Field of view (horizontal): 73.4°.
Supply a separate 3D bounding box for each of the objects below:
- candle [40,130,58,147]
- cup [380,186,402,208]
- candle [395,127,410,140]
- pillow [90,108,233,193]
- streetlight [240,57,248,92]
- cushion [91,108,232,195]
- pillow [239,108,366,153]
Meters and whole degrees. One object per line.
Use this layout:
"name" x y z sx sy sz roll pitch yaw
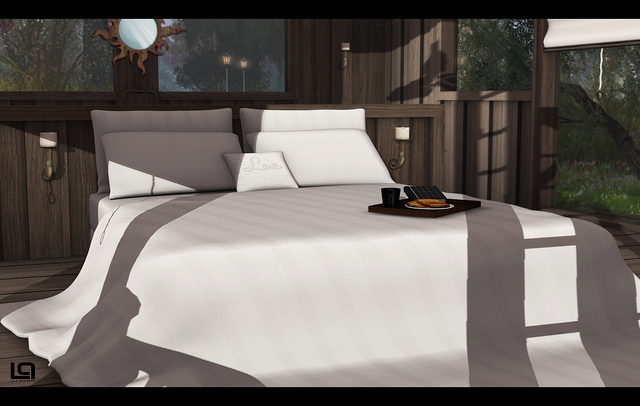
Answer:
"candle" -2.160 -0.508 3.414 0.121 0.130 0.119 2 7 14
"cup" 0.405 -0.032 2.466 0.110 0.089 0.121 0 3 0
"candle" 0.785 -0.666 4.150 0.121 0.103 0.123 5 7 38
"pillow" -1.191 -0.384 3.213 0.767 0.454 0.096 -2 -19 -14
"streetlight" -1.077 -1.833 6.098 0.096 0.459 0.119 -5 16 -26
"cushion" -1.191 -0.379 3.210 0.766 0.454 0.097 -1 -10 -16
"pillow" -0.182 -0.715 3.705 1.123 0.422 0.088 -1 -7 -15
